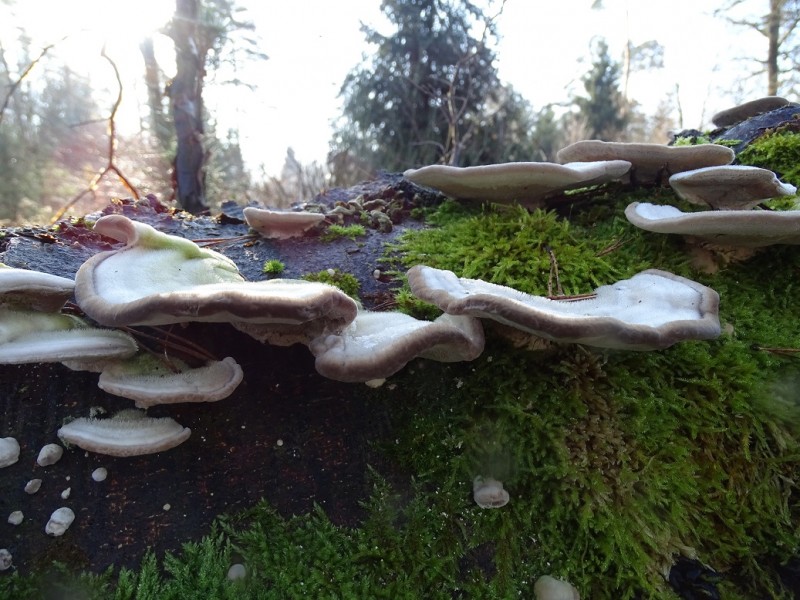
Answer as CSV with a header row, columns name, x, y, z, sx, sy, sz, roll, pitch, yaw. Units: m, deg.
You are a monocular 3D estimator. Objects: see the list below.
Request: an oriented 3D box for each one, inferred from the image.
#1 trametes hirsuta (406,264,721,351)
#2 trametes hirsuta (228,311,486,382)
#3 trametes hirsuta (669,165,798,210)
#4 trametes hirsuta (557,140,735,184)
name,x,y,z,sx,sy,sz,roll,pitch,yaw
trametes hirsuta,1.131,0.071,4.041,1.857,0.514,0.763,0,11,-9
trametes hirsuta,-0.241,0.194,4.205,1.293,0.523,0.863,-6,8,-36
trametes hirsuta,2.391,-0.821,4.577,1.012,0.321,0.752,4,6,-34
trametes hirsuta,1.914,-1.088,4.610,1.001,0.360,0.659,10,14,27
